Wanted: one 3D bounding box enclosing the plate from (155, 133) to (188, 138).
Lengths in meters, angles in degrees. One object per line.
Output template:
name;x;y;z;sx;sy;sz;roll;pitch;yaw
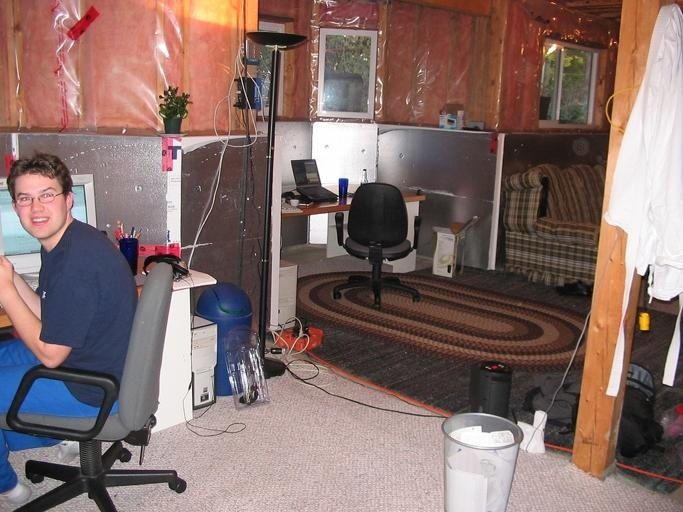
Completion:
plate;-1.059;-0.755;3.540;0.203;0.033;0.124;-4;15;-17

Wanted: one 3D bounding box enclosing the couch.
couch;2.765;-0.386;6.295;1.750;1.219;0.952;-5;17;-35

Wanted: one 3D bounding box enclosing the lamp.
lamp;-0.412;-0.333;3.732;0.355;2.234;0.763;-1;15;-8

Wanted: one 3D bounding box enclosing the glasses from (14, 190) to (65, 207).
glasses;-1.228;-0.229;2.275;0.176;0.058;0.065;0;15;-5

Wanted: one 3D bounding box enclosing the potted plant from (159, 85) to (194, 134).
potted plant;-1.061;-0.919;3.565;0.169;0.291;0.242;-5;16;-20

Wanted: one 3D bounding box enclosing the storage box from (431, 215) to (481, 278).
storage box;1.219;-0.109;6.377;0.643;0.783;0.656;4;14;15

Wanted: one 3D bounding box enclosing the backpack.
backpack;1.616;0.900;3.343;0.634;0.196;0.535;-16;14;-34

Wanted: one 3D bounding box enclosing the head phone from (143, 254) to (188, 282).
head phone;-0.973;0.041;3.178;0.275;0.107;0.201;1;29;-18
